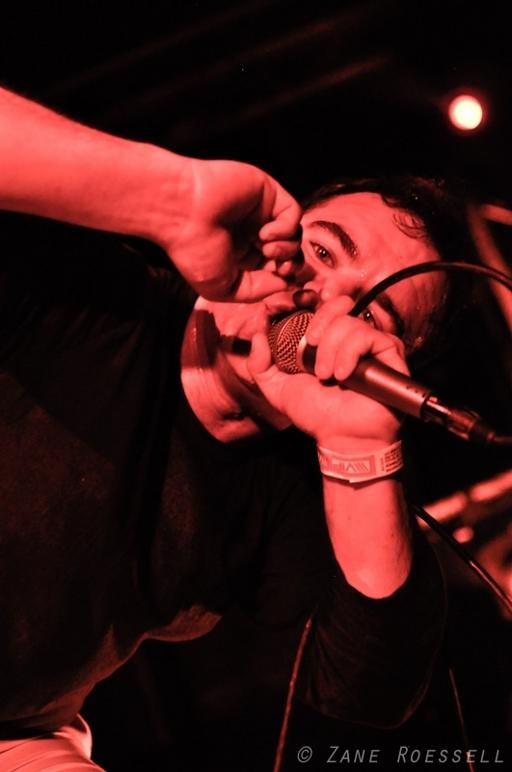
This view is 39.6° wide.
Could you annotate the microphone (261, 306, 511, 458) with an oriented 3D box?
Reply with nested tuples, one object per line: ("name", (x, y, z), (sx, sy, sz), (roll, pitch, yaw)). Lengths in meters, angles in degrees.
("microphone", (0.106, -0.027, 0.812), (0.395, 0.108, 0.096), (23, 40, 39))
